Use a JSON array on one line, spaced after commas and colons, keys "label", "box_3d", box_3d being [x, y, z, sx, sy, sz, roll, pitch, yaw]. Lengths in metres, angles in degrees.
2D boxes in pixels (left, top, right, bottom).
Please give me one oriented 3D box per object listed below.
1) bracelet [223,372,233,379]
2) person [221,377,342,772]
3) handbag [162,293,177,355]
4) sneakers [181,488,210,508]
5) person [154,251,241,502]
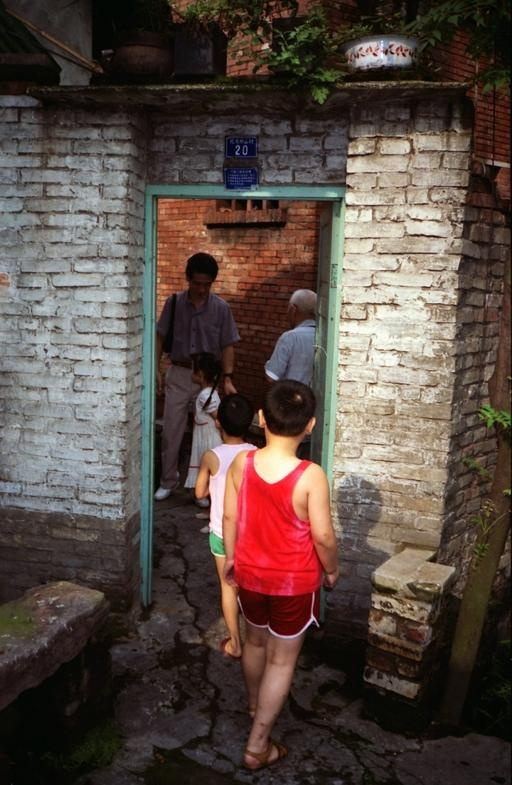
[{"label": "bracelet", "box_3d": [-0.261, -0.152, 6.062, 0.100, 0.065, 0.121, 1, -3, -1]}, {"label": "person", "box_3d": [0.081, 0.802, 2.749, 0.362, 1.693, 0.523, -2, 11, -34]}, {"label": "handbag", "box_3d": [-0.769, -0.598, 5.825, 0.101, 0.532, 0.155, 2, 9, -14]}, {"label": "sneakers", "box_3d": [-0.559, 1.006, 6.143, 0.215, 0.284, 0.112, -3, 0, 29]}, {"label": "person", "box_3d": [-0.530, -0.097, 5.937, 0.825, 2.222, 0.562, 5, 13, 7]}]
